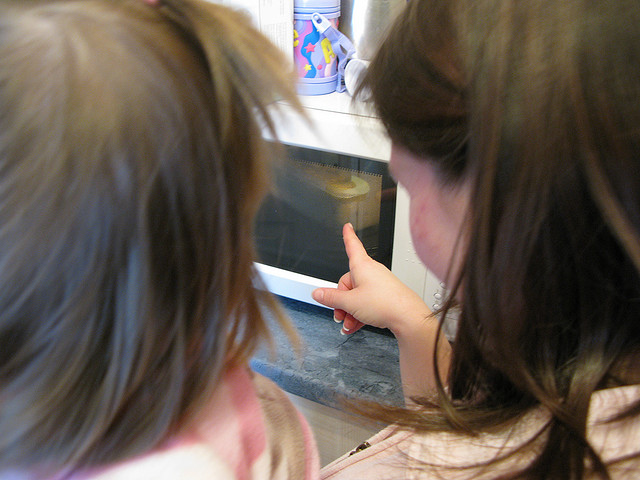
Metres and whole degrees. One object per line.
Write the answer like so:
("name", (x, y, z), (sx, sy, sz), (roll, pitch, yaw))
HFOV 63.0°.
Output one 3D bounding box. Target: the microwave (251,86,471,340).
("microwave", (0.054, -0.034, 0.662), (0.243, 0.234, 0.167), (20, 40, 28))
